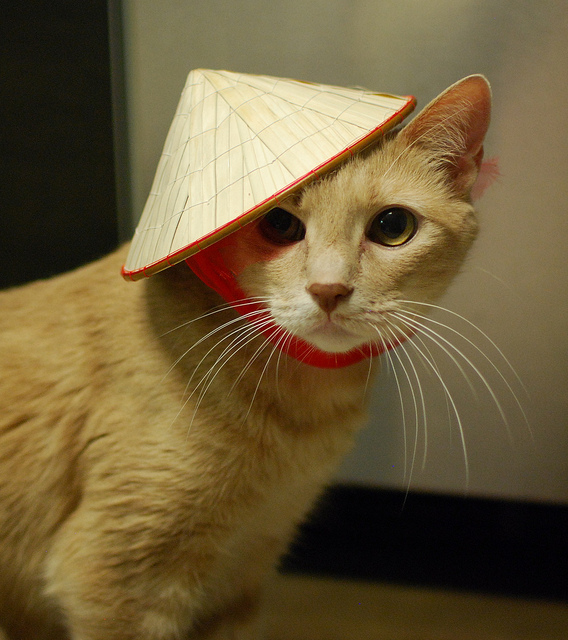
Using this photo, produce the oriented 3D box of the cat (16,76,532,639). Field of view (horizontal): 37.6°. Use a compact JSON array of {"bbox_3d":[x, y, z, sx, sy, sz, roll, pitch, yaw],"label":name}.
[{"bbox_3d":[-0.020,0.067,1.234,0.783,0.825,0.481,-6,42,-22],"label":"cat"}]
